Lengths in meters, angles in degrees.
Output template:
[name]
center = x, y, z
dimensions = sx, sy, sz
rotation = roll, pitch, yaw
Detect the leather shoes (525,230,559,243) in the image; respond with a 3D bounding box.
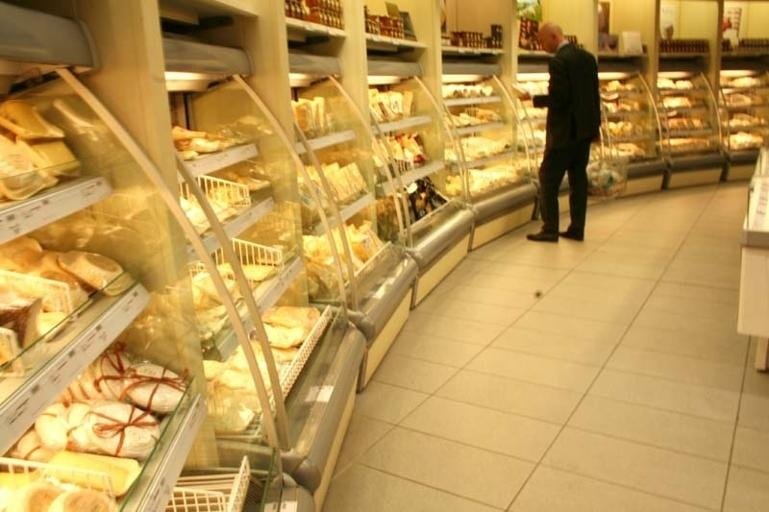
[leather shoes]
center = 1.853, -0.224, 5.841
dimensions = 0.357, 0.143, 0.133
rotation = 6, 11, 26
